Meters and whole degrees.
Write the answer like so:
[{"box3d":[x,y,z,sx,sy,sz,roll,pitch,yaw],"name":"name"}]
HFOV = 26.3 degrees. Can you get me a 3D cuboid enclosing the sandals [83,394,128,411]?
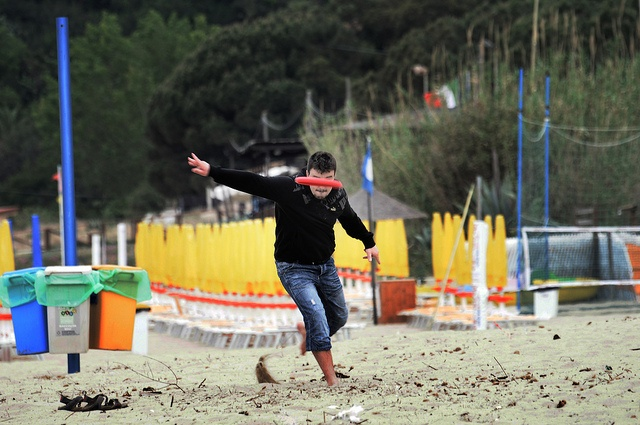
[{"box3d":[-3.188,2.758,20.260,0.551,0.219,0.255,-3,-2,-6],"name":"sandals"}]
